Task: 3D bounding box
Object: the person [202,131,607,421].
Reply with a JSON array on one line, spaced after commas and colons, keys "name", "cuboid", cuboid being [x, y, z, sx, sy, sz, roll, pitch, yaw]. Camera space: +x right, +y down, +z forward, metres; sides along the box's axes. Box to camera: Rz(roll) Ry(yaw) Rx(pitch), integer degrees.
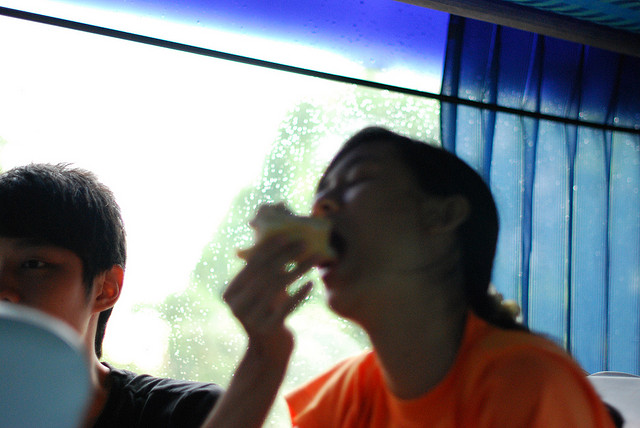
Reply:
[{"name": "person", "cuboid": [0.113, 0.276, 1.635, 0.756, 0.780, 0.967, 17, -31, -23]}]
